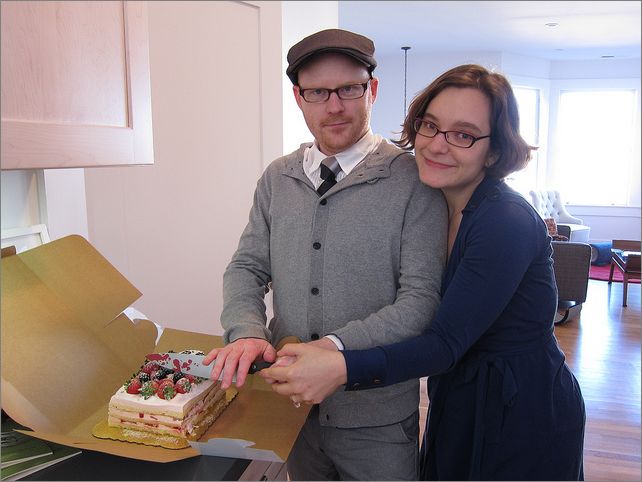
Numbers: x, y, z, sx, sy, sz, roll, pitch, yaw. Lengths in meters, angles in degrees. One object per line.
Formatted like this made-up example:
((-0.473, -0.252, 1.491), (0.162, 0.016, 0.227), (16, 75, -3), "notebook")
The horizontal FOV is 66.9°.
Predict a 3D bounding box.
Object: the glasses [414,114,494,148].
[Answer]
((0.380, -0.315, 1.425), (0.224, 0.091, 0.101), (3, 11, 18), "glasses")

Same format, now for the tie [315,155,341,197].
((0.024, -0.203, 1.544), (0.072, 0.118, 0.028), (23, 10, 13), "tie")

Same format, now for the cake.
((-0.416, 0.430, 1.340), (0.269, 0.131, 0.210), (1, 11, 10), "cake")
